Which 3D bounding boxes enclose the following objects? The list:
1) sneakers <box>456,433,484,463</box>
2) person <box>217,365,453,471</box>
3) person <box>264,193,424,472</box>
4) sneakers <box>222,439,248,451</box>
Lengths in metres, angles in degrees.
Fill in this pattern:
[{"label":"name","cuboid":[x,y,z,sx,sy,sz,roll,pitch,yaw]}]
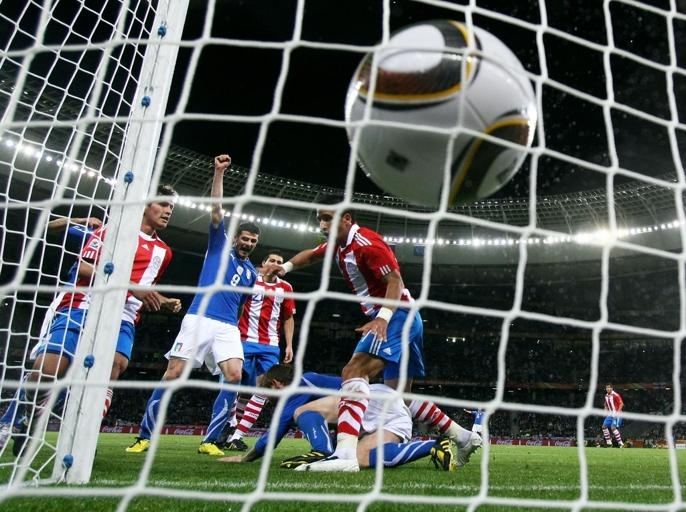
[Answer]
[{"label":"sneakers","cuboid":[0.991,1.533,5.018,0.253,0.104,0.090,-10,-30,41]},{"label":"person","cuboid":[0.074,1.316,4.668,1.452,0.658,1.122,-1,-28,4]},{"label":"person","cuboid":[0.132,0.560,4.736,1.232,1.977,1.081,2,-6,-29]},{"label":"sneakers","cuboid":[-1.153,2.024,6.618,0.329,0.156,0.122,0,-18,8]}]
